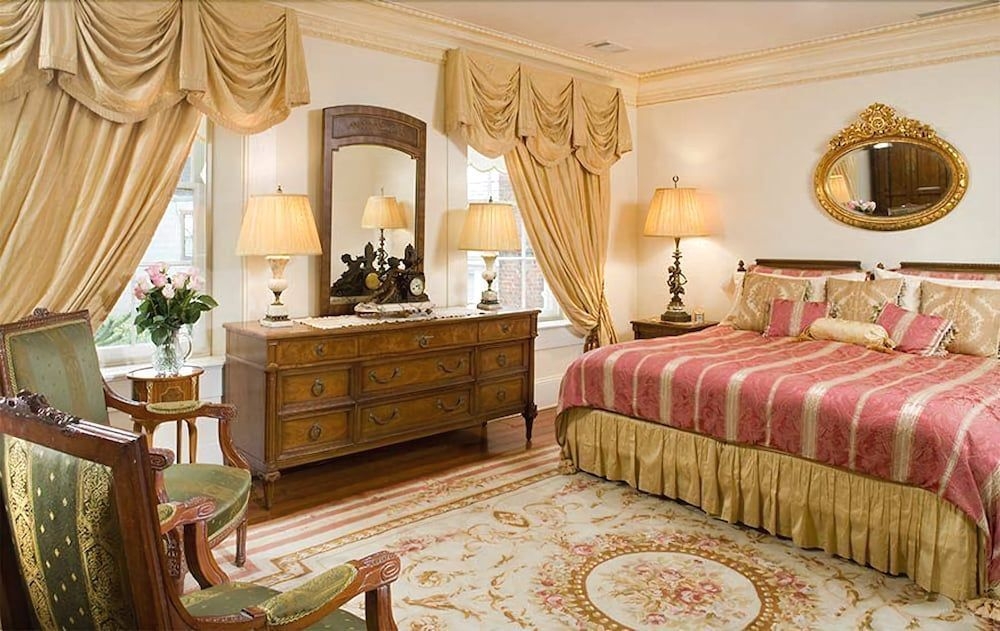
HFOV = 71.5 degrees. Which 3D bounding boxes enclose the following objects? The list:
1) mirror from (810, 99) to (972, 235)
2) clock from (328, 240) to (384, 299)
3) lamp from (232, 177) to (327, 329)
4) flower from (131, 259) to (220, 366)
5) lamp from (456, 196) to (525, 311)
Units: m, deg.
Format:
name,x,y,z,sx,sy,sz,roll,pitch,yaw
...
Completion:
name,x,y,z,sx,sy,sz,roll,pitch,yaw
mirror,3.326,-1.247,5.827,1.311,1.175,0.074,-4,2,36
clock,-1.137,-0.355,5.389,0.450,0.416,0.063,-10,20,-32
lamp,-1.557,-0.421,4.905,0.538,0.958,0.541,-2,5,-18
flower,-2.102,-0.037,4.649,0.659,0.686,0.716,-6,8,-42
lamp,-0.102,-0.511,5.968,0.493,0.895,0.692,-1,5,-2
